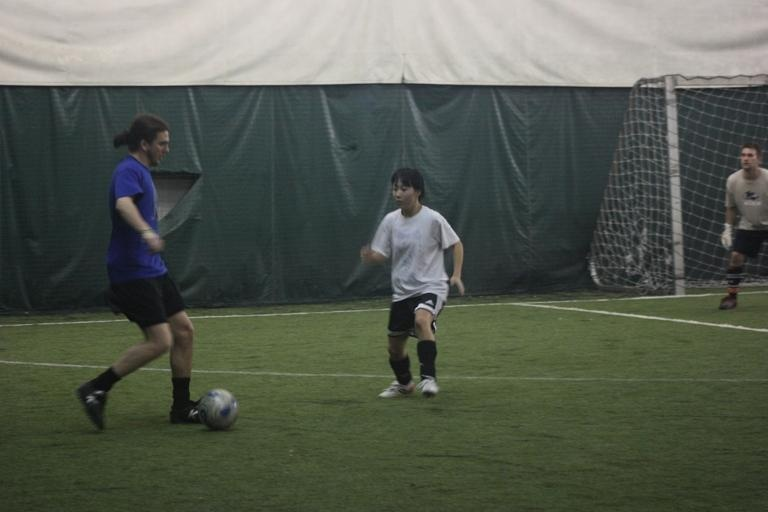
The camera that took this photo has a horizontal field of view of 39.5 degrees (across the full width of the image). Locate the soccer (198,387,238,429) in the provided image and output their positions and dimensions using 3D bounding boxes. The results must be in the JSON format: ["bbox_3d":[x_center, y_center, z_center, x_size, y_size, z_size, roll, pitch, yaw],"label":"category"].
[{"bbox_3d":[-1.468,1.352,9.407,0.390,0.355,0.357,-8,-7,-23],"label":"soccer"}]

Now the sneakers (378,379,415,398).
[{"bbox_3d":[0.127,1.285,10.134,0.408,0.135,0.122,0,-5,-7],"label":"sneakers"}]

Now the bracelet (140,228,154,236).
[{"bbox_3d":[-1.992,-0.204,9.034,0.097,0.048,0.071,-5,10,-33],"label":"bracelet"}]

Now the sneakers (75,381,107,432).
[{"bbox_3d":[-2.529,1.299,9.257,0.243,0.425,0.158,-1,10,-14],"label":"sneakers"}]

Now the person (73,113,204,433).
[{"bbox_3d":[-2.144,0.128,9.334,0.978,2.725,0.766,-1,10,-9],"label":"person"}]

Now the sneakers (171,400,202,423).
[{"bbox_3d":[-1.757,1.399,9.438,0.387,0.137,0.136,-1,0,-11],"label":"sneakers"}]

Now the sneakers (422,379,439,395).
[{"bbox_3d":[0.423,1.204,9.805,0.191,0.146,0.120,1,-9,7],"label":"sneakers"}]

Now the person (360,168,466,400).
[{"bbox_3d":[0.280,0.245,10.138,0.924,2.161,0.944,-1,10,-14],"label":"person"}]
